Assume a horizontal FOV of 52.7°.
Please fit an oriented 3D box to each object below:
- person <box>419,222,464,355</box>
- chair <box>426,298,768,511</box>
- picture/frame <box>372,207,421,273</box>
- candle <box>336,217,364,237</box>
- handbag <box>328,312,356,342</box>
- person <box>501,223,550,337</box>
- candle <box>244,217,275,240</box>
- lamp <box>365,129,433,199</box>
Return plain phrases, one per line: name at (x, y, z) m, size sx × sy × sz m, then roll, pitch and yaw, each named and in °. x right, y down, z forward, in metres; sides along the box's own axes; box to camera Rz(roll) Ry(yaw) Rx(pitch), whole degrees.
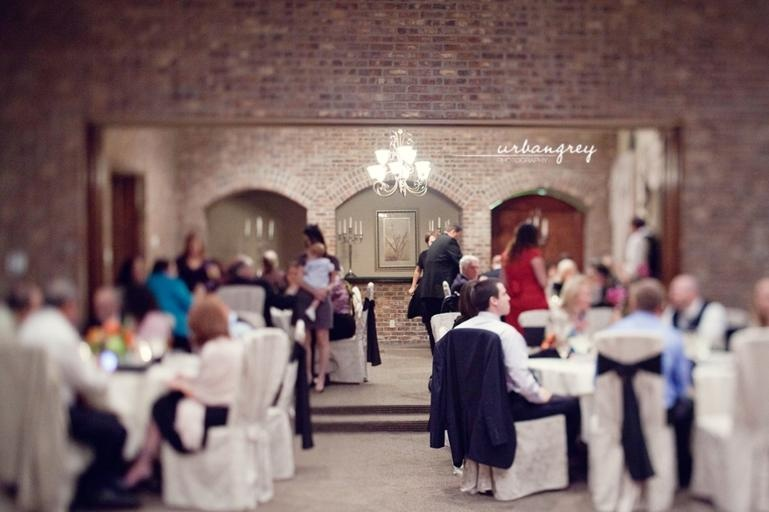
person at (0.697, 0.441, 9.657) m, size 0.470 × 1.610 × 0.515 m, roll 2°, pitch 2°, yaw -1°
chair at (1.809, 1.165, 6.496) m, size 2.037 × 0.853 × 1.604 m, roll 0°, pitch -2°, yaw 1°
picture/frame at (0.179, -0.222, 12.941) m, size 0.968 × 1.458 × 0.065 m, roll 0°, pitch -6°, yaw -6°
candle at (-0.557, -0.479, 12.855) m, size 0.321 × 0.253 × 0.331 m, roll 1°, pitch 0°, yaw -12°
handbag at (-0.479, 0.810, 8.751) m, size 0.252 × 0.271 × 0.347 m, roll 3°, pitch -9°, yaw -4°
person at (1.454, 0.417, 8.083) m, size 0.473 × 1.595 × 0.482 m, roll 0°, pitch 22°, yaw 18°
candle at (-2.200, -0.470, 13.494) m, size 0.365 × 0.322 × 0.017 m, roll 0°, pitch 1°, yaw -14°
lamp at (0.274, -1.336, 11.650) m, size 0.834 × 1.188 × 0.937 m, roll -4°, pitch 7°, yaw -38°
